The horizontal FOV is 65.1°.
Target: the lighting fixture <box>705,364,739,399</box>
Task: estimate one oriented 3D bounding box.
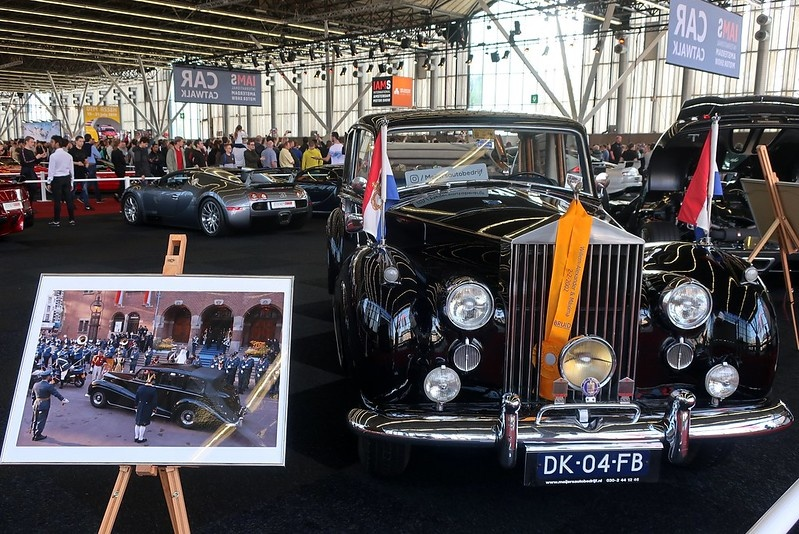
[{"bbox_3d":[1.963,0.699,3.833,0.172,0.235,0.053,-1,-6,-4],"label":"lighting fixture"}]

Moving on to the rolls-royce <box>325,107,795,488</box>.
[{"bbox_3d":[0.797,-0.058,5.396,1.894,1.889,3.839,0,4,-6],"label":"rolls-royce"}]

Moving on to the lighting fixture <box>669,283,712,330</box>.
[{"bbox_3d":[1.784,0.242,3.870,0.224,0.271,0.065,11,-3,-3],"label":"lighting fixture"}]

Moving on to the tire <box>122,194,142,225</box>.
[{"bbox_3d":[-5.203,-1.149,12.311,0.397,0.448,0.145,26,24,36],"label":"tire"}]

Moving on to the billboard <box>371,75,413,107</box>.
[{"bbox_3d":[-0.228,-6.236,22.197,0.710,1.104,1.387,4,5,35],"label":"billboard"}]

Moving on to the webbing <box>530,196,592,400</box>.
[{"bbox_3d":[0.997,0.213,3.773,0.169,1.182,0.297,12,18,42],"label":"webbing"}]

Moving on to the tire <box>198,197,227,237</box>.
[{"bbox_3d":[-3.254,-0.901,11.044,0.472,0.535,0.170,25,21,39],"label":"tire"}]
